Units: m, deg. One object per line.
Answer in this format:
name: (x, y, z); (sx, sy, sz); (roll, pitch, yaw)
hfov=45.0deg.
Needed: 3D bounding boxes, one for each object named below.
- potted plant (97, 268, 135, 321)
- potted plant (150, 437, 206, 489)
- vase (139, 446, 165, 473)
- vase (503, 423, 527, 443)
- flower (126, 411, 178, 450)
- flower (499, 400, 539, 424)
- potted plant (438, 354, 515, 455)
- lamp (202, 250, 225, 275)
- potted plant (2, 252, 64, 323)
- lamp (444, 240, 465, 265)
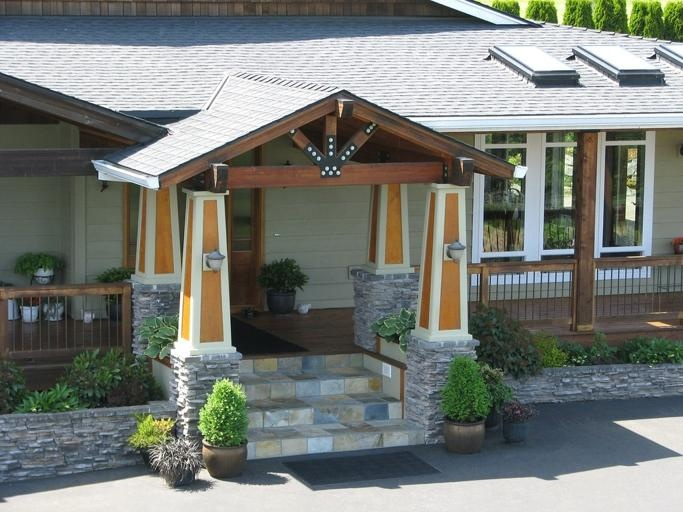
potted plant: (-4.279, 0.735, 15.685); (0.700, 1.041, 1.367); (-3, 1, -15)
potted plant: (-2.257, 2.828, 11.217); (0.485, 0.650, 0.674); (-3, 1, -44)
vase: (-2.647, 2.856, 11.534); (0.362, 0.271, 0.345); (-1, 1, -5)
vase: (2.647, 2.707, 12.596); (0.344, 0.251, 0.349); (-1, 2, 6)
flower: (-2.676, 2.480, 11.654); (0.622, 0.403, 0.557); (0, 3, -38)
flower: (2.662, 2.404, 12.743); (0.418, 0.282, 0.415); (1, 2, -12)
potted plant: (2.100, 2.212, 12.847); (0.800, 1.436, 1.645); (-3, 1, 38)
lamp: (-1.791, 0.079, 11.620); (0.349, 0.377, 0.316); (-3, 7, -34)
potted plant: (-6.014, 0.600, 16.281); (1.147, 1.408, 0.973); (-3, 0, -25)
lamp: (1.736, -0.046, 12.441); (0.268, 0.273, 0.327); (-1, 4, -19)
